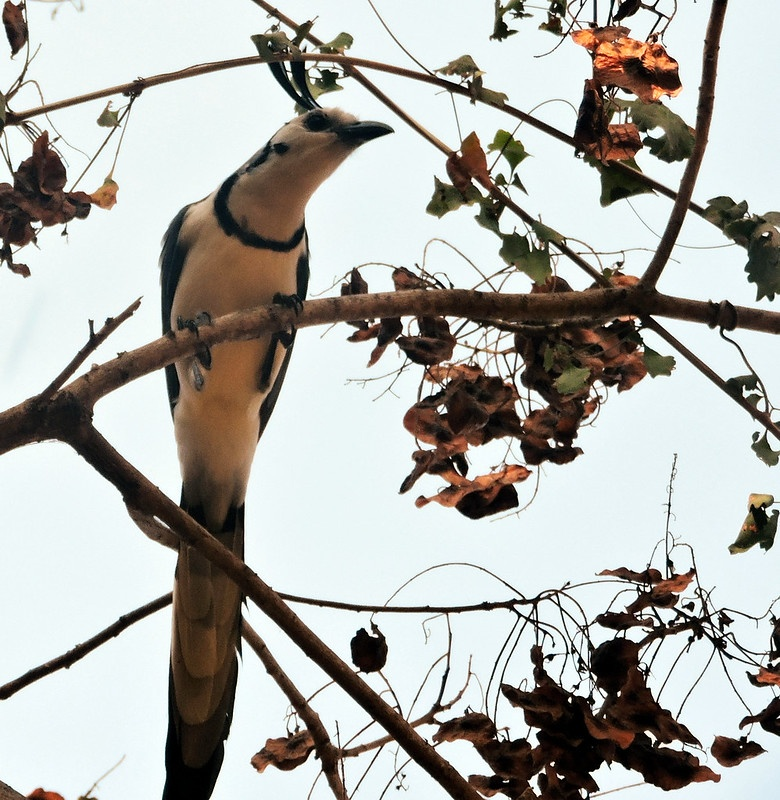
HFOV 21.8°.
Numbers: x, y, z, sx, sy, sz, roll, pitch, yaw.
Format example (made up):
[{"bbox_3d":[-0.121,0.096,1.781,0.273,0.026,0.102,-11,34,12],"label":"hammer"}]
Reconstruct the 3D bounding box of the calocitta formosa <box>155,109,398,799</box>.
[{"bbox_3d":[-0.437,-0.031,5.567,0.501,0.617,2.192,9,-82,-8],"label":"calocitta formosa"}]
